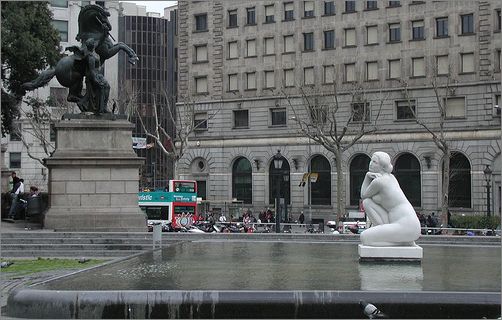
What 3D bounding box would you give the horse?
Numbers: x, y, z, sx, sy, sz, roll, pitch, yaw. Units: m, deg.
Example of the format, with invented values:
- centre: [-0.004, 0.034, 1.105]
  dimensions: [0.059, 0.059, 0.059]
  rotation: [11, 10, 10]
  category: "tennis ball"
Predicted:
- centre: [-12.088, -6.257, 57.124]
  dimensions: [8.687, 7.714, 3.627]
  rotation: [-7, 7, -21]
  category: "horse"
